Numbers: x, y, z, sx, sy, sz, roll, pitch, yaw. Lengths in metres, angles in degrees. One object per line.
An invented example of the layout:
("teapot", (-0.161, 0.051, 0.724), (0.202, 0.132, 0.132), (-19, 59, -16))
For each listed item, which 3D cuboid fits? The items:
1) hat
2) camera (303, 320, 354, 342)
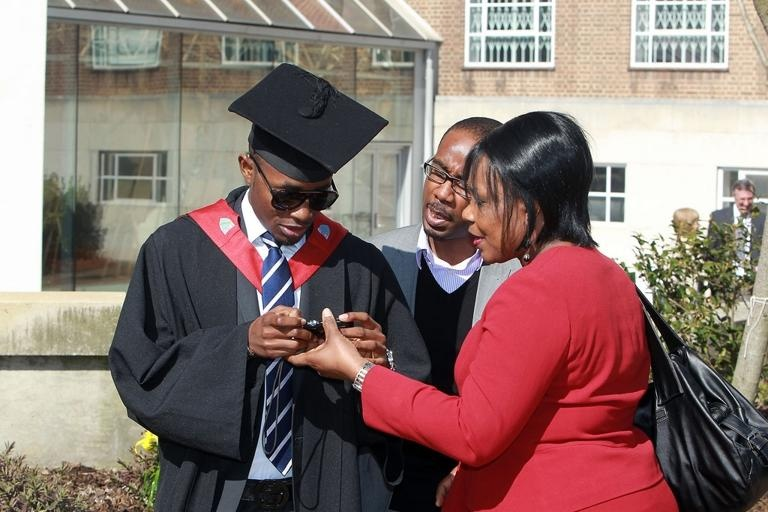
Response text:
("hat", (-0.496, -0.878, 6.309), (0.856, 0.338, 0.829), (30, 51, 13))
("camera", (-0.344, 0.454, 6.133), (0.329, 0.120, 0.149), (1, 4, -14))
